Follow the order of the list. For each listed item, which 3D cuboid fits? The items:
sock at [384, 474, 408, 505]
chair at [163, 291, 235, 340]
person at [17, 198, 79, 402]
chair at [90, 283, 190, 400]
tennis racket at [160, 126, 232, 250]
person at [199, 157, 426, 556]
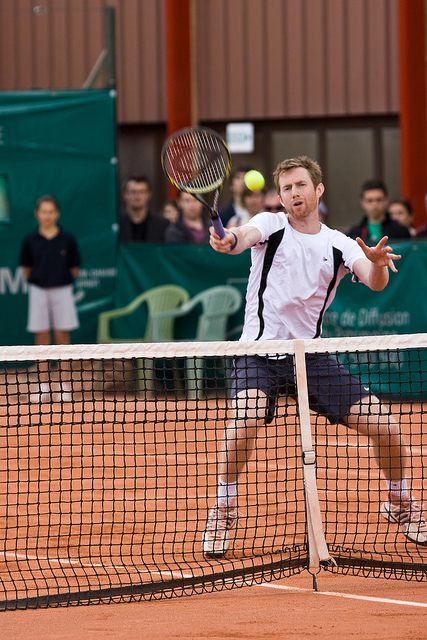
[{"bbox_3d":[0.898,0.808,5.389,0.105,0.137,0.117,-3,6,-5],"label":"sock"},{"bbox_3d":[-0.084,0.032,9.385,0.421,0.663,0.443,-2,-4,39],"label":"chair"},{"bbox_3d":[-1.379,-0.188,9.242,0.514,1.659,0.480,-6,25,-21],"label":"person"},{"bbox_3d":[-0.629,0.142,9.274,0.830,1.267,0.858,2,0,32],"label":"chair"},{"bbox_3d":[-0.053,-0.695,5.563,0.237,0.074,0.922,-14,48,2],"label":"tennis racket"},{"bbox_3d":[0.453,0.173,5.314,1.101,1.877,1.016,-2,4,-1],"label":"person"}]
